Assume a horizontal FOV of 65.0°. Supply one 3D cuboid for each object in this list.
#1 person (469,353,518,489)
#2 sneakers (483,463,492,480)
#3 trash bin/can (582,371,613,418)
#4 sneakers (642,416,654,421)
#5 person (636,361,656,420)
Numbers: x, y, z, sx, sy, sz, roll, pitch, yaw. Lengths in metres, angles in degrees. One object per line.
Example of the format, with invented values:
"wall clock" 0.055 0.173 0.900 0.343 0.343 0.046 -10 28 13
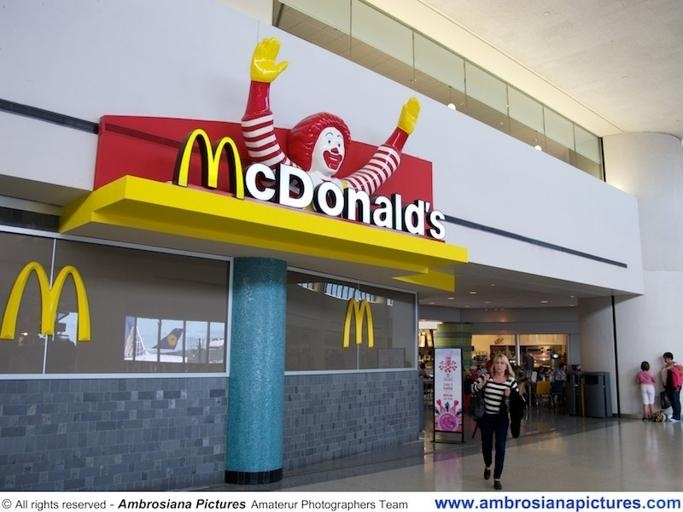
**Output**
"person" 2.024 2.108 6.935 0.588 1.659 0.404 -8 -14 34
"sneakers" 1.966 2.917 7.147 0.094 0.121 0.280 0 -37 7
"trash bin/can" 6.736 3.669 14.018 0.703 1.393 0.755 12 -15 -33
"sneakers" 7.682 4.040 13.393 0.241 0.106 0.333 -7 -14 29
"person" 7.765 3.386 13.567 0.433 1.441 0.647 -6 -13 30
